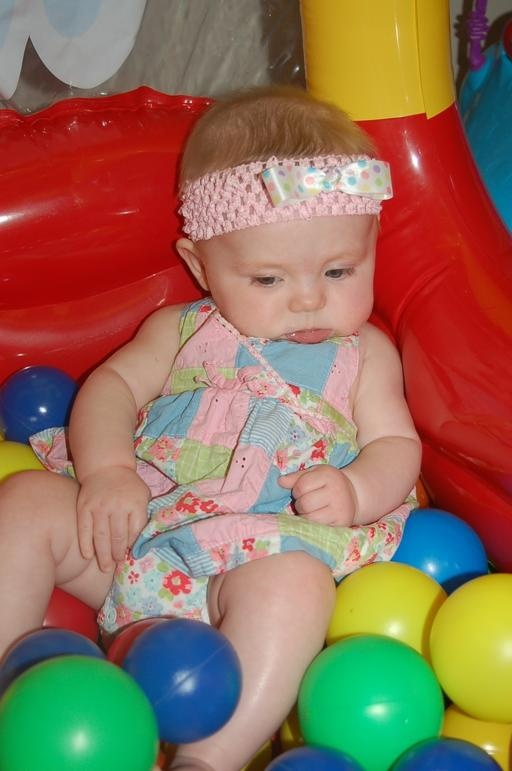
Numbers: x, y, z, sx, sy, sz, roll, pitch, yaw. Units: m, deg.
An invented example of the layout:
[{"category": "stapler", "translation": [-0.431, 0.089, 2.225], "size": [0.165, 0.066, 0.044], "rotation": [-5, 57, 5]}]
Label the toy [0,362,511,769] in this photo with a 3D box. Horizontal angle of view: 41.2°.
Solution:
[{"category": "toy", "translation": [0.146, 0.392, 1.276], "size": [0.710, 0.205, 0.687], "rotation": [9, 42, -6]}]
